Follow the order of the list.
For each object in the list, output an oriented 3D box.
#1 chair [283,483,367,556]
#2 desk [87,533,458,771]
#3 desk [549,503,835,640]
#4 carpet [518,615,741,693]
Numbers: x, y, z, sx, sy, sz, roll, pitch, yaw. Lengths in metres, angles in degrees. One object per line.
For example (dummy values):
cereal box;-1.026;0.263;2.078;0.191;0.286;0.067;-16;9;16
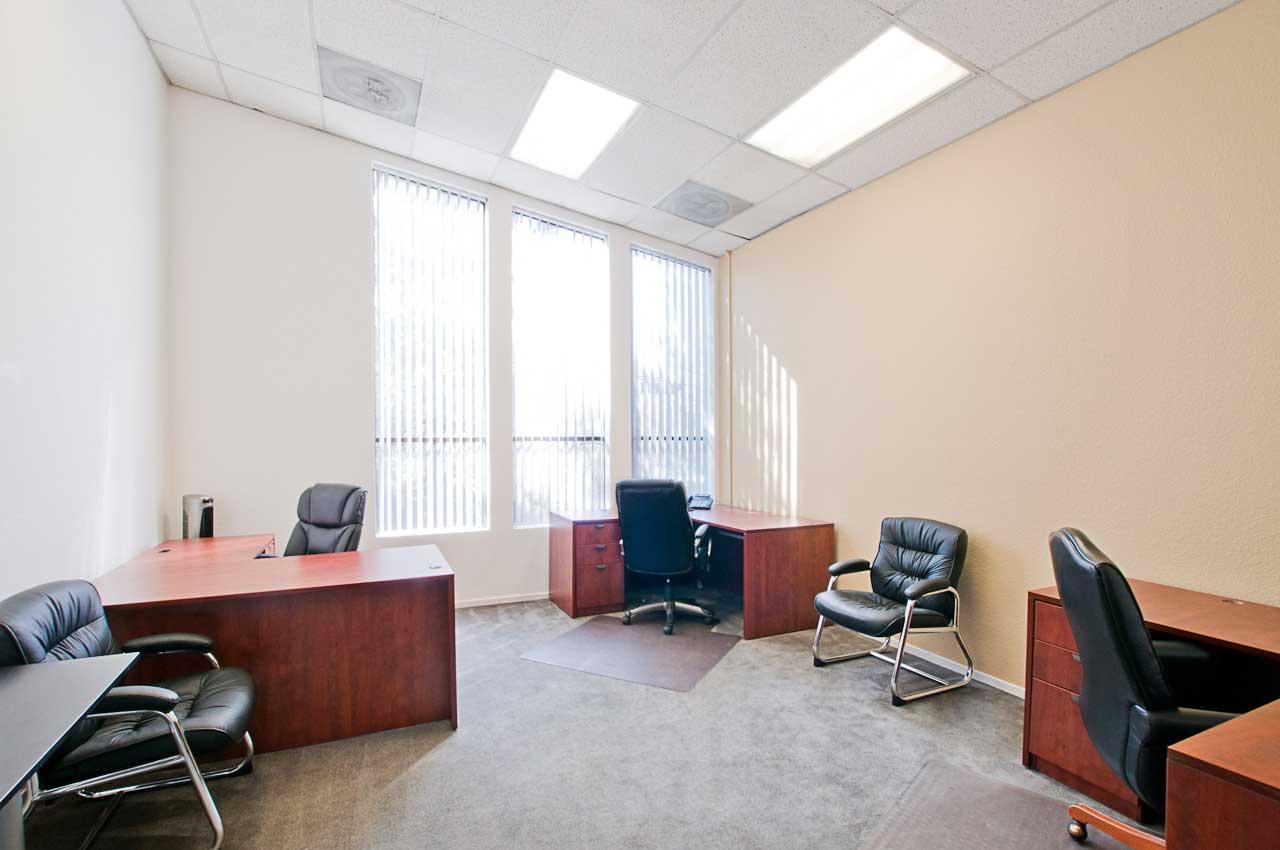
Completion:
chair;-2.214;0.702;5.969;0.490;0.691;0.593;-3;-7;21
desk;-2.108;1.278;5.064;1.370;0.668;1.470;-1;5;-24
desk;0.654;1.153;6.523;1.344;0.622;1.342;-1;0;-26
carpet;-0.011;1.720;6.173;1.386;0.223;1.197;-2;0;22
